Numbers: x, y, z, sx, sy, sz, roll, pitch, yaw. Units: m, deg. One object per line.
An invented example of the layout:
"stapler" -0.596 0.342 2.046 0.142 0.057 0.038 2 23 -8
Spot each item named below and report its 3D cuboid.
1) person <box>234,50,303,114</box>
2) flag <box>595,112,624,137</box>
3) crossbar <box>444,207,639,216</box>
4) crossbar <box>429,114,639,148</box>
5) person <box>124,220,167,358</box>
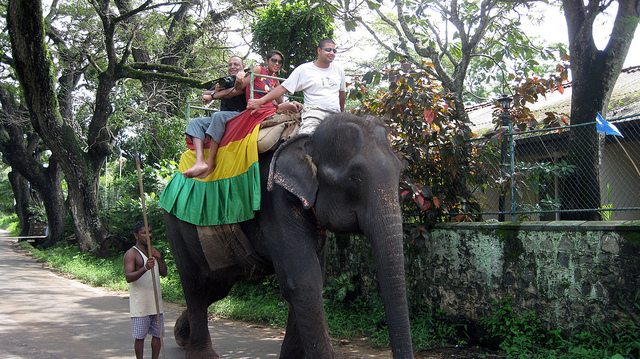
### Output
"person" -0.955 -1.831 8.812 1.490 0.990 0.956 7 6 42
"flag" 5.805 -1.068 9.656 0.397 0.514 0.713 -6 -9 30
"crossbar" 4.497 0.658 9.907 3.663 0.091 0.771 -5 -9 22
"crossbar" 4.448 -1.033 10.047 3.809 0.315 0.811 -3 -9 15
"person" -3.260 2.050 8.917 0.740 2.568 0.583 2 -8 -23
